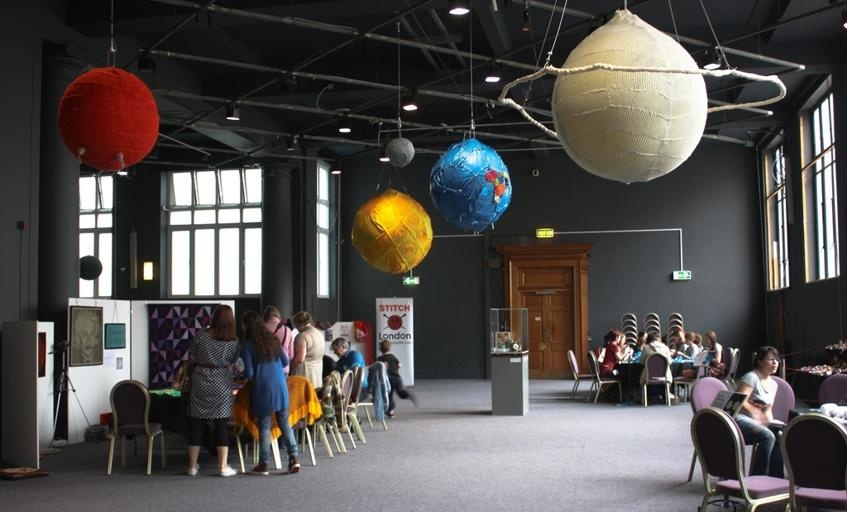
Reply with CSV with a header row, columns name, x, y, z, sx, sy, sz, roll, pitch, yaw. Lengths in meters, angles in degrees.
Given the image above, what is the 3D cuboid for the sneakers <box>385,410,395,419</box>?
name,x,y,z,sx,sy,sz,roll,pitch,yaw
sneakers,-0.611,2.841,12.629,0.105,0.138,0.329,0,-10,-2

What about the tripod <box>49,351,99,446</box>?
name,x,y,z,sx,sy,sz,roll,pitch,yaw
tripod,-5.502,2.100,10.906,0.409,1.595,0.676,-1,-2,4

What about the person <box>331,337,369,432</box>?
name,x,y,z,sx,sy,sz,roll,pitch,yaw
person,-1.223,1.915,11.538,0.567,1.174,0.546,-9,-2,-2

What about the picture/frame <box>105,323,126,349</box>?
name,x,y,z,sx,sy,sz,roll,pitch,yaw
picture/frame,-5.227,1.345,11.844,0.039,0.439,0.417,-5,-5,24

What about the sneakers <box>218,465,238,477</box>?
name,x,y,z,sx,sy,sz,roll,pitch,yaw
sneakers,-2.568,2.817,9.215,0.212,0.102,0.103,-2,-4,1

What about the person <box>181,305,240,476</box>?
name,x,y,z,sx,sy,sz,roll,pitch,yaw
person,-2.783,1.754,9.269,0.684,2.213,0.447,-1,-2,-6

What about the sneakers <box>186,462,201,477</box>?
name,x,y,z,sx,sy,sz,roll,pitch,yaw
sneakers,-3.062,2.810,9.317,0.096,0.121,0.274,2,-6,-4

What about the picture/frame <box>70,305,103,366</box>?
name,x,y,z,sx,sy,sz,roll,pitch,yaw
picture/frame,-5.438,1.284,11.244,0.083,1.123,0.882,-5,-6,18

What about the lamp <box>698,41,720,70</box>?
name,x,y,z,sx,sy,sz,roll,pitch,yaw
lamp,4.496,-3.075,10.924,0.256,0.324,0.387,-2,-2,21

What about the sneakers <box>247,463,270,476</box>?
name,x,y,z,sx,sy,sz,roll,pitch,yaw
sneakers,-2.157,2.782,9.178,0.297,0.140,0.132,1,-6,30
